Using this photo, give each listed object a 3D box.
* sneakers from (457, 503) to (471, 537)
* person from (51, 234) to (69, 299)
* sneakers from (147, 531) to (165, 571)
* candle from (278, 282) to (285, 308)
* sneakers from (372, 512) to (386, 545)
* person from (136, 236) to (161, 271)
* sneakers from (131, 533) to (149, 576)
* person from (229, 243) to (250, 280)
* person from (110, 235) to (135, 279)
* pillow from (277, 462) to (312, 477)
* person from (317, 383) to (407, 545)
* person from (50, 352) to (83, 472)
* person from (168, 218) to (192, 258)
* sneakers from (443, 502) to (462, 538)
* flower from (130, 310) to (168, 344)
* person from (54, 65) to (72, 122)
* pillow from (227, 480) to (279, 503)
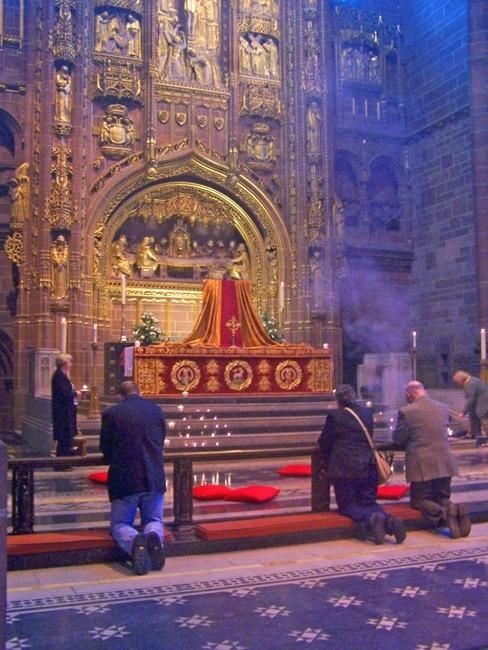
[{"bbox_3d":[1.897,1.677,7.624,0.103,0.266,0.120,-4,-4,-11],"label":"sneakers"},{"bbox_3d":[-3.620,-1.098,17.358,0.343,1.278,0.161,0,-5,-18],"label":"person"},{"bbox_3d":[-0.686,1.715,6.764,0.110,0.288,0.129,-4,-13,-22],"label":"sneakers"},{"bbox_3d":[0.848,-0.670,19.891,0.127,0.600,0.178,-1,-5,1],"label":"candle"},{"bbox_3d":[1.111,1.698,7.411,0.110,0.259,0.118,-3,-3,-21],"label":"sneakers"},{"bbox_3d":[-2.203,-1.544,19.852,0.442,0.869,0.365,-1,-5,-9],"label":"person"},{"bbox_3d":[-0.810,1.724,6.666,0.120,0.264,0.118,2,-23,-21],"label":"sneakers"},{"bbox_3d":[-0.153,-1.520,20.972,0.446,0.911,0.362,3,-6,-41],"label":"person"},{"bbox_3d":[-2.673,-1.508,19.615,0.340,0.962,0.654,-3,-5,17],"label":"person"},{"bbox_3d":[0.602,1.789,10.854,0.404,0.131,0.441,-1,-5,1],"label":"pillow"},{"bbox_3d":[1.008,1.191,7.656,0.415,1.337,0.791,2,-6,-38],"label":"person"},{"bbox_3d":[-2.355,1.136,11.571,0.320,1.511,0.835,0,-5,-13],"label":"person"},{"bbox_3d":[-1.496,-2.005,20.546,0.570,0.928,0.281,0,-5,-13],"label":"person"},{"bbox_3d":[1.797,1.695,7.689,0.118,0.275,0.134,-5,-5,-13],"label":"sneakers"},{"bbox_3d":[-1.888,0.045,17.056,0.722,0.729,0.666,-1,0,-18],"label":"flower"},{"bbox_3d":[-3.582,-4.523,17.550,0.364,1.185,0.232,1,-5,-29],"label":"person"},{"bbox_3d":[0.084,1.680,8.820,0.497,0.139,0.426,-5,-6,36],"label":"pillow"}]
